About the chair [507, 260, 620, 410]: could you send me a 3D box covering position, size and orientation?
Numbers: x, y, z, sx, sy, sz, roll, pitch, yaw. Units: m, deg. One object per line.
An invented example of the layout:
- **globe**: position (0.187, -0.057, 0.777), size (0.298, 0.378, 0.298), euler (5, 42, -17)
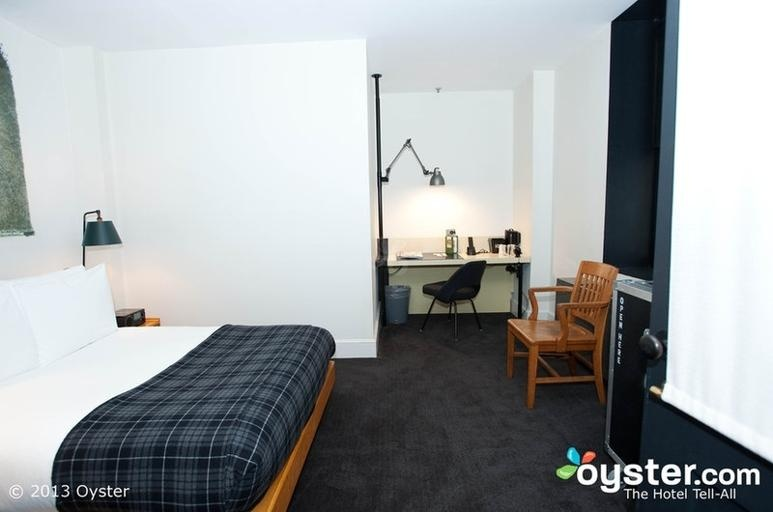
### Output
- **chair**: position (1.541, 0.626, 4.808), size (1.048, 1.526, 1.074), euler (1, 1, -4)

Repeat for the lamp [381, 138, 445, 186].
- **lamp**: position (0.295, -1.065, 6.046), size (0.718, 0.573, 0.487), euler (-2, 12, 0)

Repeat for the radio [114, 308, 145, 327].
- **radio**: position (-2.278, 0.540, 4.671), size (0.160, 0.103, 0.210), euler (0, 6, -3)

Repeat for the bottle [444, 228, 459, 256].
- **bottle**: position (0.752, -0.167, 6.133), size (0.139, 0.264, 0.498), euler (-1, 12, 6)

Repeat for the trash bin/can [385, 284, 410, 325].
- **trash bin/can**: position (0.125, 0.545, 6.149), size (0.336, 0.406, 0.351), euler (1, 7, 0)

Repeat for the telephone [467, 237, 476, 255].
- **telephone**: position (0.986, -0.129, 6.157), size (0.106, 0.176, 0.306), euler (0, 12, 9)

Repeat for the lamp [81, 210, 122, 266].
- **lamp**: position (-2.474, -0.134, 4.586), size (0.370, 0.502, 0.266), euler (-1, 8, 12)

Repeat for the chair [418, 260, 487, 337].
- **chair**: position (0.702, 0.393, 5.758), size (0.681, 0.827, 0.789), euler (-2, 12, 3)
